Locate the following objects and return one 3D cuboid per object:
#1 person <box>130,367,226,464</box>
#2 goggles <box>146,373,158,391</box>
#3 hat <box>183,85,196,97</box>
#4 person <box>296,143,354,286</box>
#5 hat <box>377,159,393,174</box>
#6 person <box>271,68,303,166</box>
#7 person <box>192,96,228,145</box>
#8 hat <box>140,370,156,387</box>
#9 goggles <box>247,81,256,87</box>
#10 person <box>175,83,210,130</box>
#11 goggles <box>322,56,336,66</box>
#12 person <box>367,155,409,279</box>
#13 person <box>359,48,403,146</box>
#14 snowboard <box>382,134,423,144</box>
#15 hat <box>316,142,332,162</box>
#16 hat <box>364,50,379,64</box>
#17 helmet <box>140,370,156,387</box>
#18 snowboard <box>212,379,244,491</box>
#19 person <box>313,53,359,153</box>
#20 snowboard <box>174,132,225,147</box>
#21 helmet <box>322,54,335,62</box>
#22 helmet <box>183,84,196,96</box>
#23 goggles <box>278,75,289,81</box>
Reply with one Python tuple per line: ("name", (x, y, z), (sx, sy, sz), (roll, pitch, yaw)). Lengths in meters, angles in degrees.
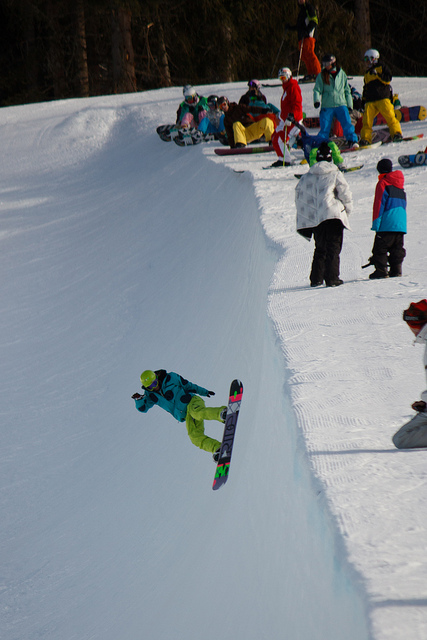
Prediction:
("person", (-0.327, 0.942, 6.334), (0.344, 0.445, 0.929), (-17, 34, -42))
("goggles", (-0.502, 0.511, 5.468), (0.078, 0.091, 0.111), (-27, 40, 19))
("hat", (-0.500, -4.745, 13.559), (0.223, 0.279, 0.268), (-3, 6, -1))
("person", (1.001, -0.900, 6.178), (0.542, 1.123, 0.346), (8, 17, 23))
("hat", (1.567, -1.428, 6.142), (0.109, 0.139, 0.143), (-1, 32, 2))
("person", (1.242, -3.343, 10.939), (0.372, 1.538, 0.703), (-4, 16, -14))
("person", (-0.049, -4.372, 14.088), (0.602, 0.847, 1.003), (2, 29, -1))
("hat", (-0.540, 0.472, 5.487), (0.118, 0.136, 0.194), (-1, 17, -6))
("goggles", (0.656, -4.177, 11.685), (0.083, 0.096, 0.208), (-7, 19, -26))
("person", (-0.445, -4.493, 13.922), (0.615, 0.901, 0.850), (-1, 16, -6))
("goggles", (1.857, -4.222, 10.728), (0.140, 0.069, 0.192), (-10, 18, 37))
("person", (1.853, -1.167, 6.960), (0.403, 1.105, 1.998), (5, 17, 15))
("person", (2.904, -3.818, 11.373), (0.737, 1.584, 2.300), (4, 17, 11))
("snowboard", (3.293, -3.182, 11.619), (0.674, 0.178, 0.517), (5, 17, 13))
("hat", (1.037, -1.623, 6.330), (0.148, 0.172, 0.178), (0, 13, -1))
("hat", (2.528, -4.254, 10.664), (0.183, 0.248, 0.502), (5, 17, 14))
("helmet", (-0.550, 0.470, 5.484), (0.098, 0.133, 0.133), (-30, 46, 13))
("snowboard", (0.106, 0.809, 4.725), (0.130, 1.063, 0.107), (9, -6, 8))
("person", (1.967, -3.637, 11.139), (0.645, 1.545, 1.303), (14, 21, 40))
("snowboard", (-0.398, -3.951, 14.393), (0.802, 0.201, 0.453), (-5, 9, 5))
("helmet", (1.843, -4.247, 10.716), (0.183, 0.120, 0.223), (3, 17, 6))
("helmet", (-0.521, -4.779, 13.561), (0.239, 0.319, 0.308), (-4, 4, -5))
("goggles", (1.133, -3.950, 10.760), (0.140, 0.079, 0.172), (-2, 17, -10))
